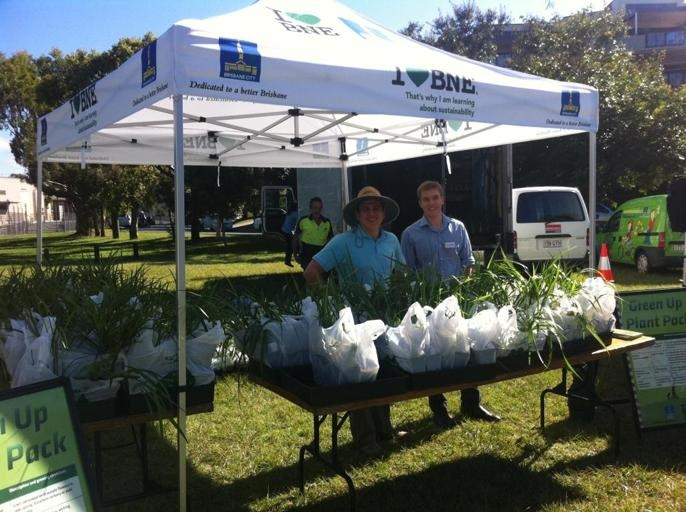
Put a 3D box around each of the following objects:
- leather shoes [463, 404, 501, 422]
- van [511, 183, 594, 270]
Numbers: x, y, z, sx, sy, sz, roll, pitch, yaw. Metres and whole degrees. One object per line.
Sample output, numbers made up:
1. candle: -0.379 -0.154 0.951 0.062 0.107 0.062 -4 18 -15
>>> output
1. leather shoes: 1.268 1.427 6.041 0.341 0.186 0.126 -6 -4 30
2. van: 3.799 -0.627 13.067 1.337 1.573 2.562 -2 10 1
